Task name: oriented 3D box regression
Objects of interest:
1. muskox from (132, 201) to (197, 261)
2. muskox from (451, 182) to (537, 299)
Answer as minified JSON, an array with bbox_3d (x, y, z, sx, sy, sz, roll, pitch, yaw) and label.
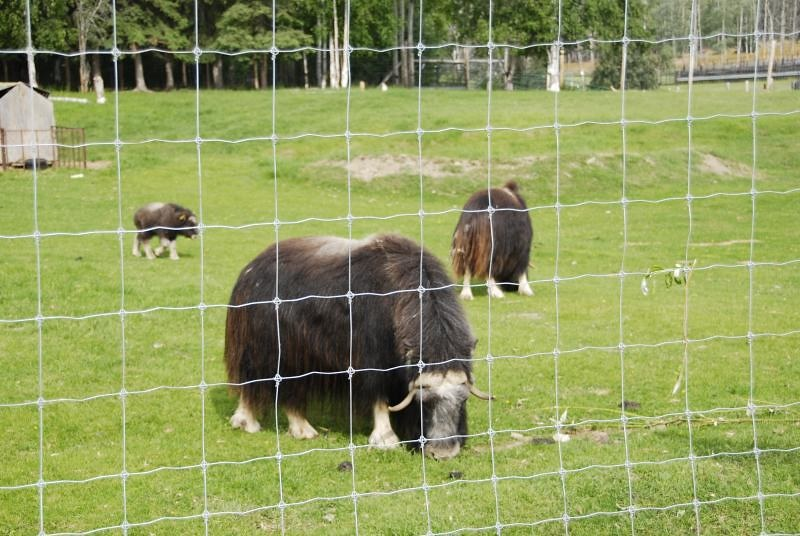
[{"bbox_3d":[-5.018,-0.799,26.326,1.566,1.276,0.737,6,11,20],"label":"muskox"},{"bbox_3d":[2.088,-0.446,25.330,1.367,2.257,3.039,2,3,29],"label":"muskox"}]
